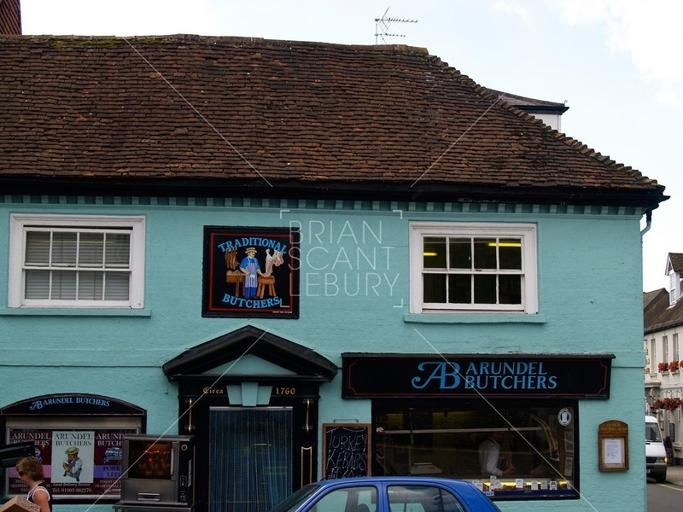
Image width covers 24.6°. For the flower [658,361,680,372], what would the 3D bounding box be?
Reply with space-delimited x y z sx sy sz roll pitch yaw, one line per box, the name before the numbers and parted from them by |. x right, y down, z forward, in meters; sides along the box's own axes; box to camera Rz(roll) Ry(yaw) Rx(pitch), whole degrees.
flower | 12.914 4.344 61.942 0.699 0.265 0.656 0 -8 8

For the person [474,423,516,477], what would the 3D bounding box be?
person | 3.225 4.151 32.892 0.744 0.996 0.229 -2 -11 4
